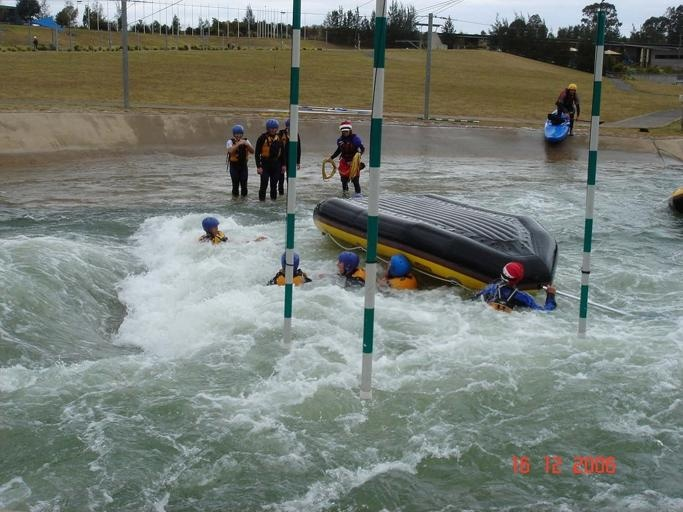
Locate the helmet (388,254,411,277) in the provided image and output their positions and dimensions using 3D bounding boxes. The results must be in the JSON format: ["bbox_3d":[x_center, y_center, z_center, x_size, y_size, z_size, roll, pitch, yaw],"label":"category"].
[{"bbox_3d":[0.798,0.181,11.217,0.305,0.328,0.331,9,-25,-19],"label":"helmet"}]

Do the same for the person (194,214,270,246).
[{"bbox_3d":[-1.842,-0.472,12.772,1.059,0.486,0.446,-2,31,2],"label":"person"}]

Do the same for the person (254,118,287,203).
[{"bbox_3d":[-1.583,-2.103,16.302,0.553,1.767,0.860,4,18,1],"label":"person"}]

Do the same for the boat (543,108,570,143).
[{"bbox_3d":[7.192,-4.352,25.282,0.827,1.007,1.091,7,17,14],"label":"boat"}]

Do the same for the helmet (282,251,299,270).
[{"bbox_3d":[-0.752,0.073,10.720,0.272,0.285,0.310,6,21,3],"label":"helmet"}]

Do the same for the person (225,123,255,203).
[{"bbox_3d":[-2.241,-2.128,16.629,0.559,1.564,1.182,1,17,-8],"label":"person"}]

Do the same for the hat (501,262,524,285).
[{"bbox_3d":[2.309,0.191,10.155,0.367,0.294,0.244,8,43,11],"label":"hat"}]

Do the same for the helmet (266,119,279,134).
[{"bbox_3d":[-1.483,-2.771,16.031,0.229,0.327,0.645,1,15,-6],"label":"helmet"}]

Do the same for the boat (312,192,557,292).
[{"bbox_3d":[1.408,-0.377,11.928,1.788,0.736,3.149,-7,20,-41],"label":"boat"}]

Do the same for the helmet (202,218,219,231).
[{"bbox_3d":[-2.200,-0.549,12.598,0.260,0.174,0.198,-11,-35,24],"label":"helmet"}]
